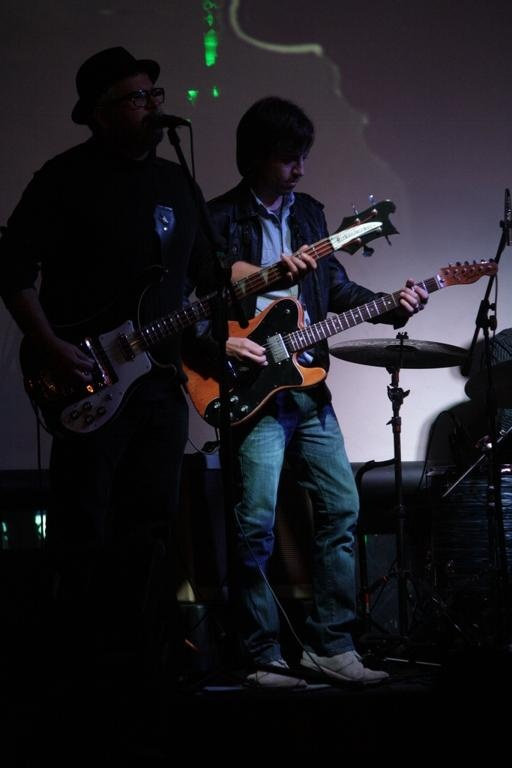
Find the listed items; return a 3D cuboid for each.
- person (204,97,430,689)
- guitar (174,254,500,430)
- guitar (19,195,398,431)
[{"bbox_3d":[0.173,0.042,1.920,0.551,1.604,0.493,-4,7,-4],"label":"person"},{"bbox_3d":[0.282,-0.117,2.319,0.738,0.249,0.084,-27,5,-17],"label":"guitar"},{"bbox_3d":[-0.156,-0.199,1.909,0.928,0.282,0.099,-35,6,-15],"label":"guitar"}]
